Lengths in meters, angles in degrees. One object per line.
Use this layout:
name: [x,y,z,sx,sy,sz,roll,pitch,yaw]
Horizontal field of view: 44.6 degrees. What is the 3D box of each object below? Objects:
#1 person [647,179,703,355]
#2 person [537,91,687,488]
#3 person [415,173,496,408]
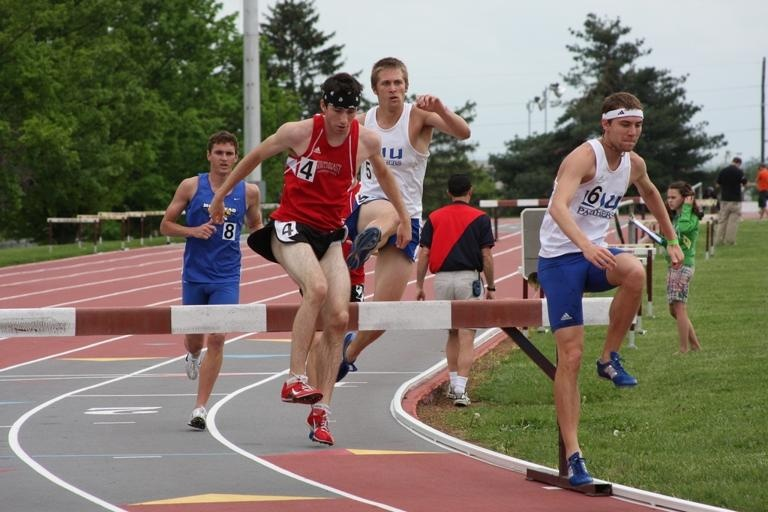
person: [4.225,0.202,13.308,0.681,2.373,0.863,4,-5,-14]
person: [2.046,0.302,8.783,1.278,3.631,0.820,-6,7,-38]
person: [0.922,0.394,12.002,1.081,2.805,1.490,1,-1,0]
